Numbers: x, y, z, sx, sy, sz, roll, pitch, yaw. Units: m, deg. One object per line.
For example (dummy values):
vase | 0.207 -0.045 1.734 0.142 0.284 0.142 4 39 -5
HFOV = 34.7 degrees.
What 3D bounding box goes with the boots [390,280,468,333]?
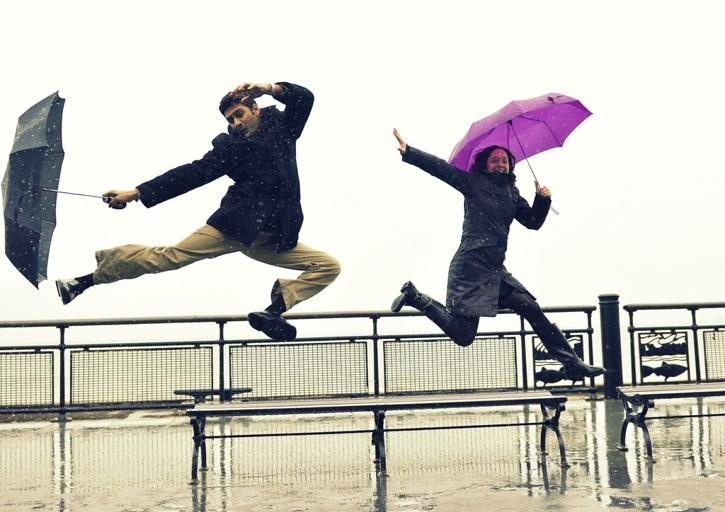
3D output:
boots | 0.635 0.537 12.254 0.645 0.481 0.367 -2 1 3
